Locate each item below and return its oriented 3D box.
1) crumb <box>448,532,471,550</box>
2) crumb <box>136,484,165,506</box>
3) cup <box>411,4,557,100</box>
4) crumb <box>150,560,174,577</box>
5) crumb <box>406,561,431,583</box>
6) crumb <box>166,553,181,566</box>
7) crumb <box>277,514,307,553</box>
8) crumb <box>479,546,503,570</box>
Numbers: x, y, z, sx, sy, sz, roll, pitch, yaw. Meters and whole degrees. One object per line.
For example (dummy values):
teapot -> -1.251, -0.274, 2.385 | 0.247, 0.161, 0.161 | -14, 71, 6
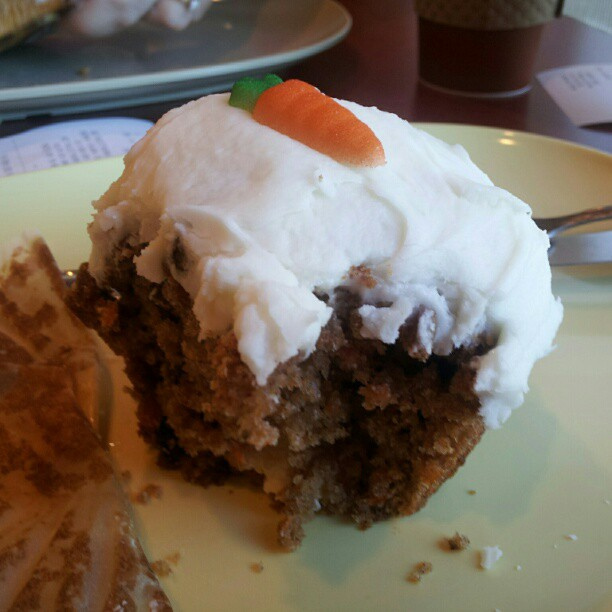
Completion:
crumb -> 0.286, 0.441, 1.479 | 0.030, 0.018, 0.026 | -8, 22, 24
crumb -> -0.318, 0.379, 1.581 | 0.034, 0.011, 0.036 | -16, 36, -17
cup -> 0.529, -0.804, 2.526 | 0.345, 0.297, 0.349 | 0, 39, 0
crumb -> -0.269, 0.490, 1.475 | 0.028, 0.007, 0.042 | -34, 61, -28
crumb -> 0.205, 0.488, 1.448 | 0.037, 0.017, 0.028 | -16, 11, -27
crumb -> -0.247, 0.475, 1.486 | 0.019, 0.006, 0.019 | -8, 29, -26
crumb -> -0.028, 0.426, 1.487 | 0.052, 0.037, 0.065 | 0, 67, -10
crumb -> 0.342, 0.467, 1.458 | 0.043, 0.013, 0.041 | 8, 51, 1
